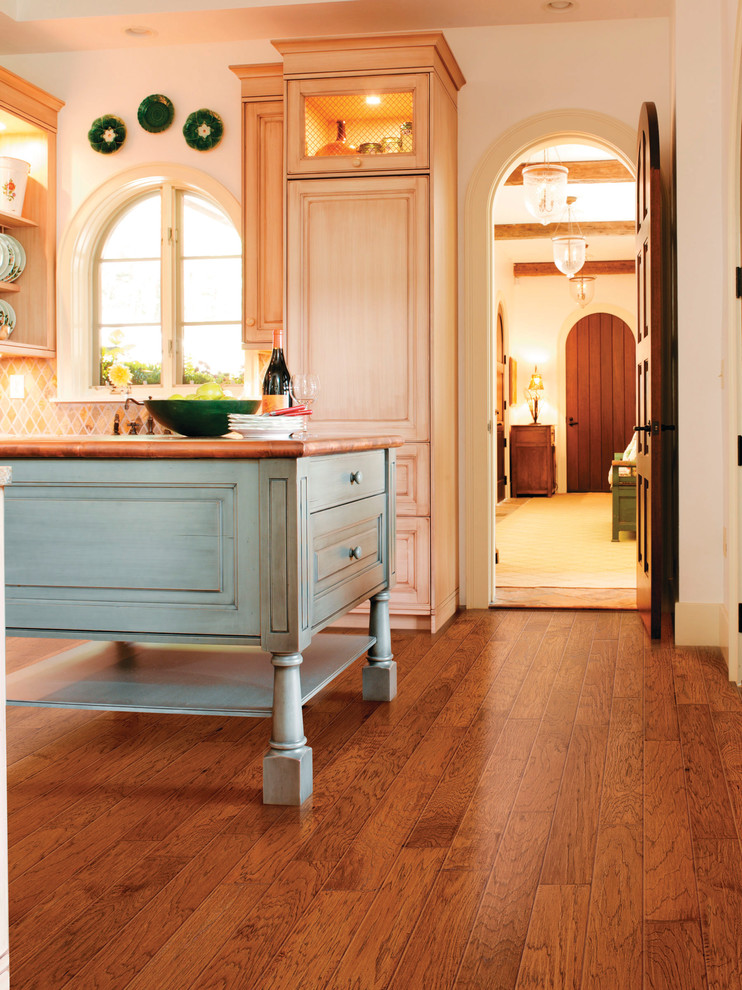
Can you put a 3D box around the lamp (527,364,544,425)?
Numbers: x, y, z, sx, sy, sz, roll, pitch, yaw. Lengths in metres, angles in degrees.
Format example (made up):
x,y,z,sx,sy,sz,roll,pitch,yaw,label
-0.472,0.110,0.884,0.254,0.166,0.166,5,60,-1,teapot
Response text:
x,y,z,sx,sy,sz,roll,pitch,yaw,label
3.129,-1.923,13.630,0.419,1.109,0.196,1,-4,-40,lamp

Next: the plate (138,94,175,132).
x,y,z,sx,sy,sz,roll,pitch,yaw,label
-1.461,-2.596,4.879,0.211,0.258,0.034,10,14,17,plate

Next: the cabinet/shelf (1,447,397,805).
x,y,z,sx,sy,sz,roll,pitch,yaw,label
-0.483,0.182,2.140,0.825,0.835,1.220,0,2,8,cabinet/shelf

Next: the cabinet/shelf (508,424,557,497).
x,y,z,sx,sy,sz,roll,pitch,yaw,label
3.024,-0.611,13.052,0.940,1.704,1.202,-1,4,7,cabinet/shelf

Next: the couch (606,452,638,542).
x,y,z,sx,sy,sz,roll,pitch,yaw,label
2.721,0.049,7.736,0.253,0.575,0.984,-1,4,6,couch

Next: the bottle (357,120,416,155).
x,y,z,sx,sy,sz,roll,pitch,yaw,label
0.107,-1.946,3.973,0.187,0.143,0.213,0,9,7,bottle
